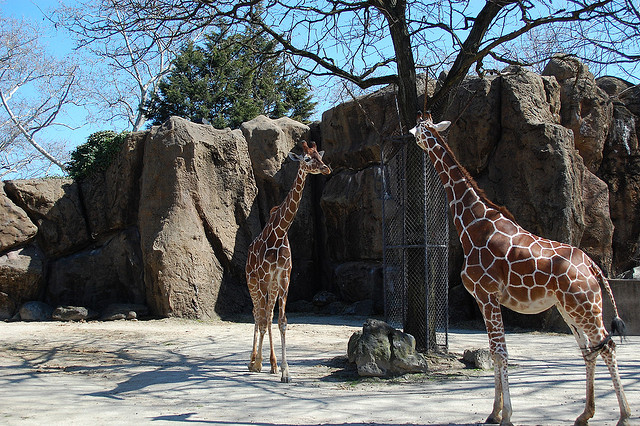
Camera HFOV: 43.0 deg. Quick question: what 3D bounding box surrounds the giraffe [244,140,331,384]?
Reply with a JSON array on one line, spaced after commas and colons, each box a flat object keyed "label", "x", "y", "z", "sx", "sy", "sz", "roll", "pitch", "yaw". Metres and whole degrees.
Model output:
[{"label": "giraffe", "x": -0.965, "y": 0.934, "z": 18.083, "sx": 1.819, "sy": 5.078, "sz": 1.652, "roll": 6, "pitch": 9, "yaw": 41}]
